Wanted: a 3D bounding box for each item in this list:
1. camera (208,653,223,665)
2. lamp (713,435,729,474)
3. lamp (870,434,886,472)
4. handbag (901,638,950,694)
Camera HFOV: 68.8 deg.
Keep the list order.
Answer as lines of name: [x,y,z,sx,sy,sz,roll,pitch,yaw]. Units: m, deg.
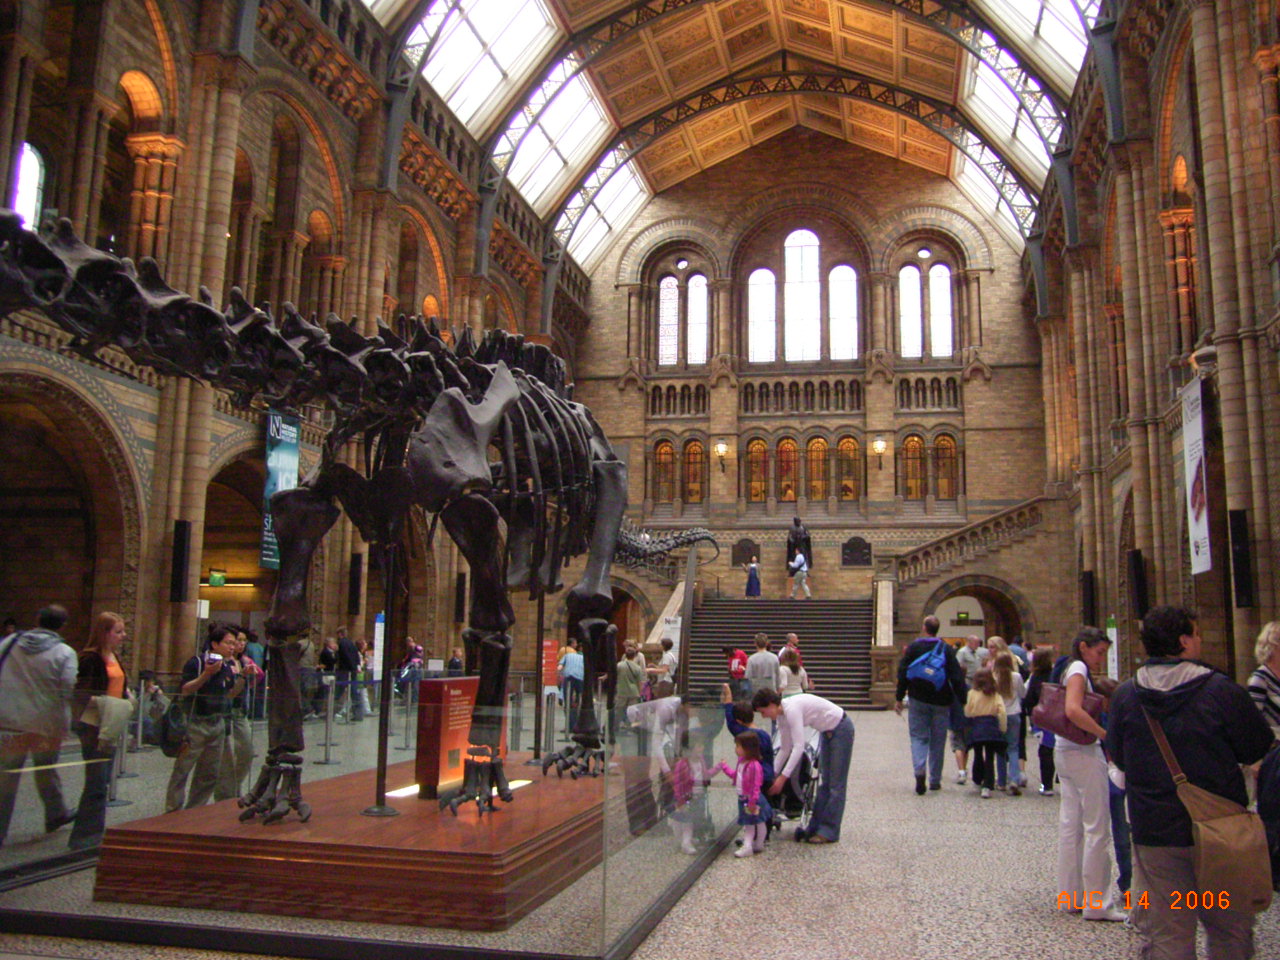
camera: [-3.686,1.536,8.047,0.103,0.068,0.177,0,-3,-5]
lamp: [2.887,-0.900,33.509,0.561,1.263,0.134,6,-5,5]
lamp: [8.314,-0.939,32.600,0.523,1.201,0.161,7,-5,-12]
handbag: [3.282,2.162,10.740,0.506,0.639,0.359,-4,-39,27]
